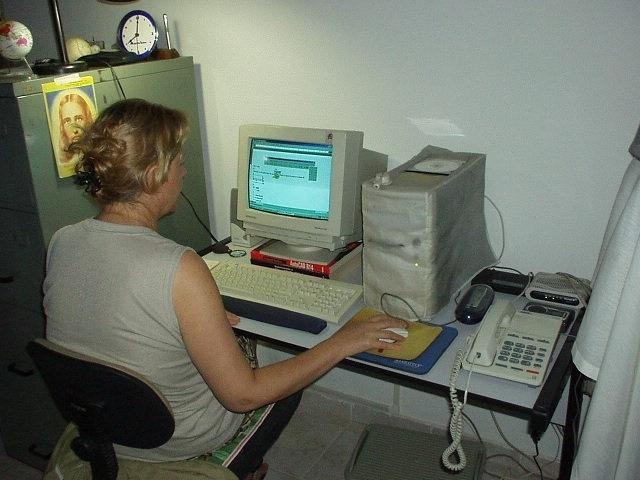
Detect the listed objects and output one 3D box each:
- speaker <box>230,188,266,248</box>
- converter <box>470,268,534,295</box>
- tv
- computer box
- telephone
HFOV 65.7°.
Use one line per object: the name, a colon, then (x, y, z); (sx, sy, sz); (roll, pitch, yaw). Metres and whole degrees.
speaker: (-0.300, -0.099, 2.115); (0.130, 0.262, 0.140); (10, 29, 15)
converter: (0.688, 0.135, 1.863); (0.150, 0.036, 0.112); (10, 28, 27)
tv: (-0.060, -0.301, 2.193); (0.674, 0.617, 0.486); (10, 20, 28)
computer box: (0.388, -0.054, 1.767); (0.385, 0.645, 0.414); (11, 26, 21)
telephone: (0.606, 0.314, 1.514); (0.207, 0.097, 0.289); (10, 38, 33)
